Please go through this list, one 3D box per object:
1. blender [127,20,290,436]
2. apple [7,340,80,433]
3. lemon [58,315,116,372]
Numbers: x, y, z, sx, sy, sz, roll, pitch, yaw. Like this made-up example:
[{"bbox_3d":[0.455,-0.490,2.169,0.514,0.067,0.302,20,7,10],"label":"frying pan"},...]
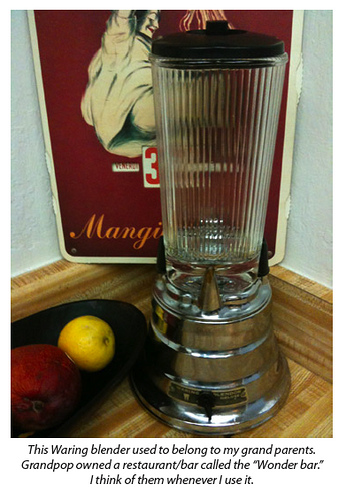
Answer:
[{"bbox_3d":[0.041,0.005,0.394,0.195,0.380,0.117,-6,26,-9],"label":"blender"},{"bbox_3d":[-0.140,0.142,0.421,0.071,0.064,0.081,-6,26,-9],"label":"apple"},{"bbox_3d":[-0.104,0.116,0.500,0.061,0.061,0.063,-29,9,9],"label":"lemon"}]
